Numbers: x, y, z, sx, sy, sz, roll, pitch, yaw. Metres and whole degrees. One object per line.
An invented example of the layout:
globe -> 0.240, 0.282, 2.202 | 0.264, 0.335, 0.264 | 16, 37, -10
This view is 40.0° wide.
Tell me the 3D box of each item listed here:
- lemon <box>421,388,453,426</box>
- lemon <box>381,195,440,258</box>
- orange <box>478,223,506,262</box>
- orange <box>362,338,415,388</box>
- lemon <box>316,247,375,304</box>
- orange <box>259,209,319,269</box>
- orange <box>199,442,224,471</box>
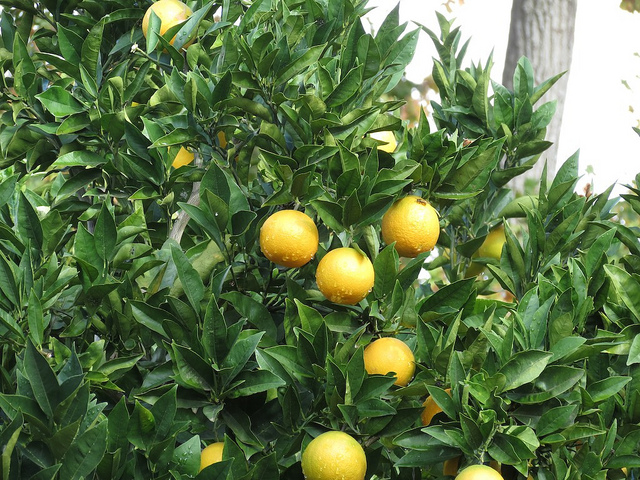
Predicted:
lemon -> 0.296, 0.443, 2.318 | 0.079, 0.118, 0.090 | -4, 22, 3
lemon -> 0.237, -0.032, 2.287 | 0.103, 0.187, 0.169 | 3, 4, -23
orange -> 0.575, 0.006, 2.909 | 0.080, 0.122, 0.052 | 27, 11, 23
orange -> 0.165, 0.303, 2.306 | 0.101, 0.122, 0.116 | 6, 14, 5
lemon -> 0.053, 0.104, 2.279 | 0.144, 0.158, 0.144 | 8, 9, -34
orange -> -0.080, -0.002, 2.332 | 0.132, 0.154, 0.138 | 17, -30, -23
orange -> -0.274, 0.540, 2.196 | 0.049, 0.057, 0.067 | 23, 10, -9
